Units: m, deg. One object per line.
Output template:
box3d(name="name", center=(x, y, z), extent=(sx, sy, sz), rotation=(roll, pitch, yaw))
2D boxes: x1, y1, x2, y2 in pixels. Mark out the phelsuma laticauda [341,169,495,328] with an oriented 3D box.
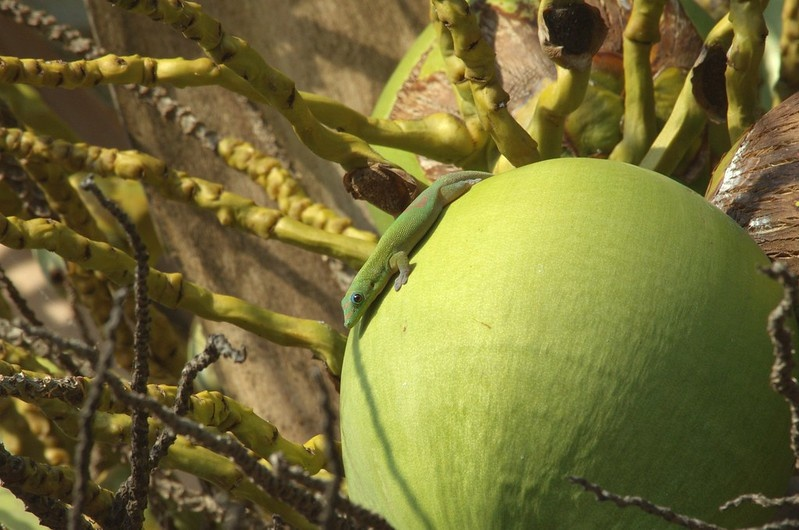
box3d(name="phelsuma laticauda", center=(0.020, -0.070, 3.843), extent=(0.586, 0.111, 0.221), rotation=(-59, 14, -3))
